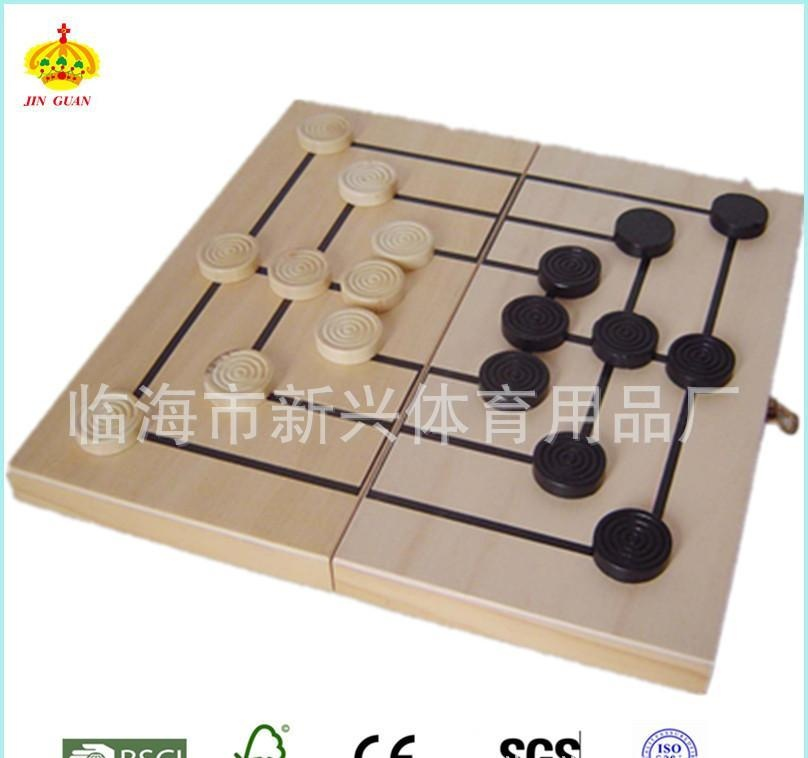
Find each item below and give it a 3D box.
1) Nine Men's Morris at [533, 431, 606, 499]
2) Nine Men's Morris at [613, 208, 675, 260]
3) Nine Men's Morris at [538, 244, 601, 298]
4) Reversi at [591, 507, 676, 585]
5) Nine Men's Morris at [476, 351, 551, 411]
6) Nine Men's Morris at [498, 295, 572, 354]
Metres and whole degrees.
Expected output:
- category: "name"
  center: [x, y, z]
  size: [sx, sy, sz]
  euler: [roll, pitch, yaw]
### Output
- category: "Nine Men's Morris"
  center: [0.427, 0.220, 1.978]
  size: [0.179, 0.170, 0.051]
  euler: [8, -33, 10]
- category: "Nine Men's Morris"
  center: [0.808, -0.506, 2.566]
  size: [0.185, 0.173, 0.043]
  euler: [-3, -38, 2]
- category: "Nine Men's Morris"
  center: [0.535, -0.355, 2.442]
  size: [0.179, 0.167, 0.065]
  euler: [0, -38, 5]
- category: "Reversi"
  center: [0.548, 0.398, 1.830]
  size: [0.177, 0.183, 0.076]
  euler: [4, -34, 15]
- category: "Nine Men's Morris"
  center: [0.316, 0.008, 2.183]
  size: [0.201, 0.191, 0.052]
  euler: [8, -33, 10]
- category: "Nine Men's Morris"
  center: [0.392, -0.175, 2.298]
  size: [0.184, 0.172, 0.048]
  euler: [0, -39, 4]
